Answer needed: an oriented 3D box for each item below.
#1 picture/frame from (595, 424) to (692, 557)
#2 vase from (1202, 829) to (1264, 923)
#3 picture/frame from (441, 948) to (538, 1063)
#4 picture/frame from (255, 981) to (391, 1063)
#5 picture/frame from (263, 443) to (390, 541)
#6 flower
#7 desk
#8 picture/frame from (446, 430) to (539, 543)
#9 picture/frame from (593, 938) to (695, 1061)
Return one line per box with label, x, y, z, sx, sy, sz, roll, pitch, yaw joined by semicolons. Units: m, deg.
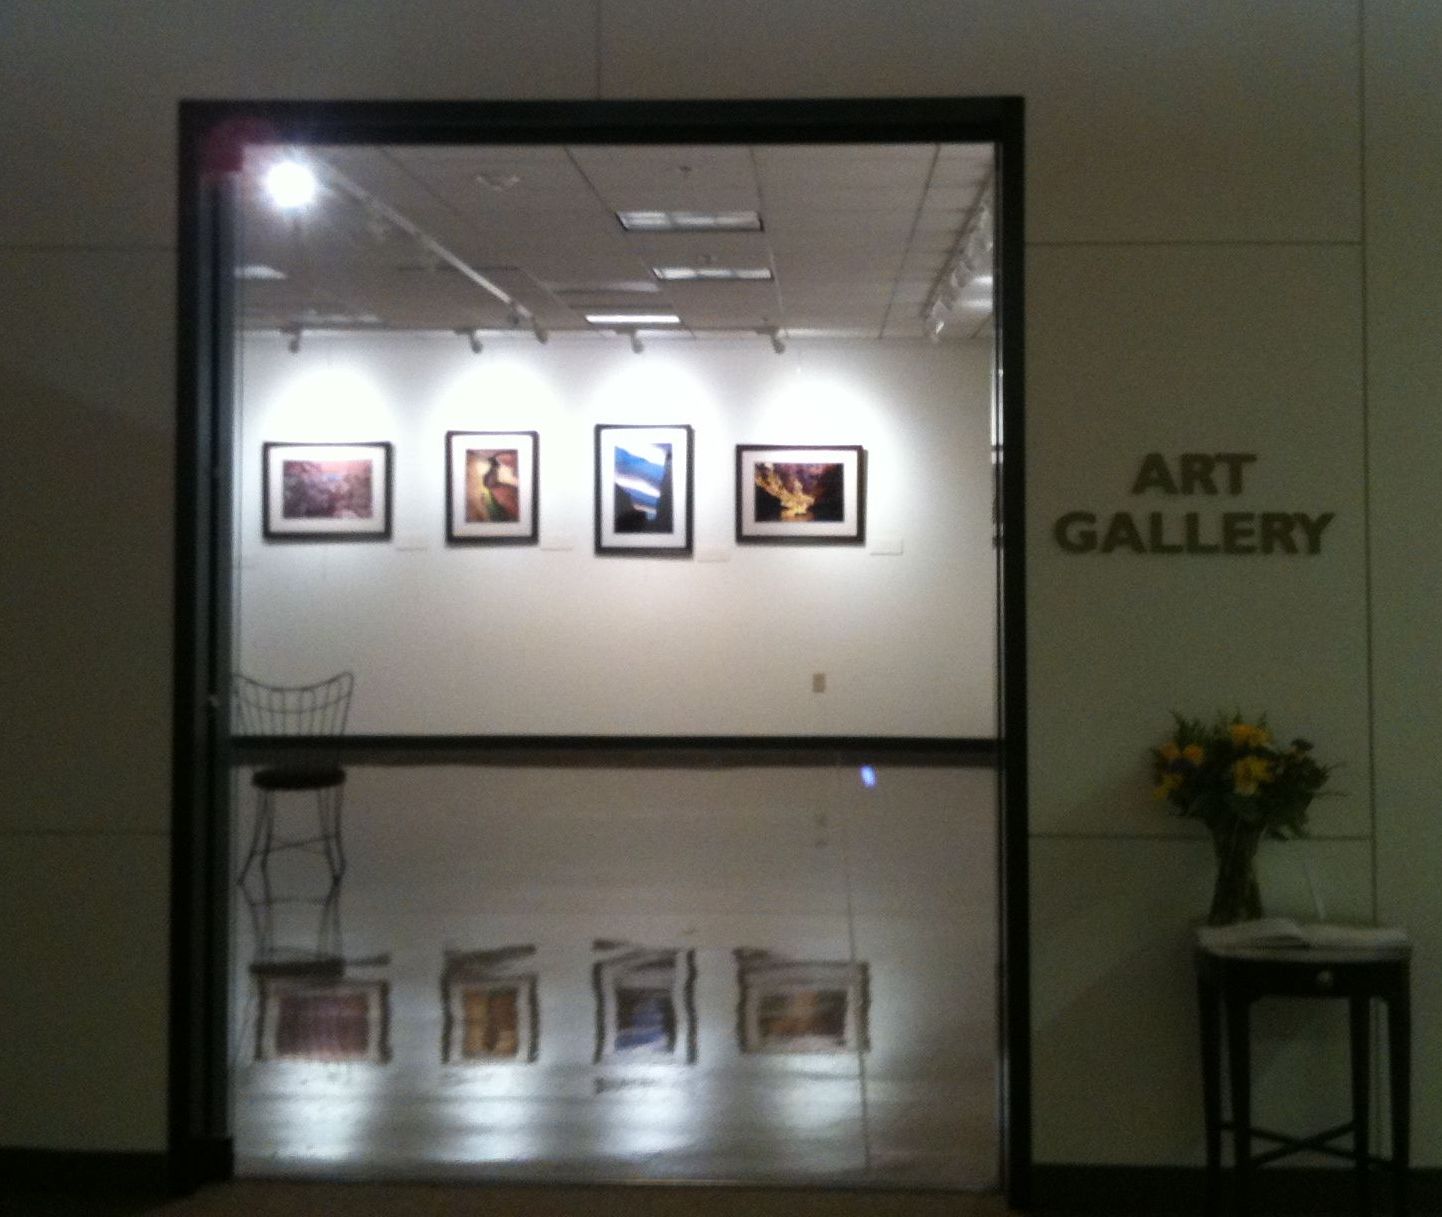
picture/frame;-0.639;-0.919;12.779;0.962;1.285;0.087;0;-4;1
vase;1.358;0.708;4.125;0.127;0.247;0.122;1;5;13
picture/frame;-0.837;1.443;5.587;0.202;0.302;0.240;-1;-47;-4
picture/frame;-1.385;1.449;5.453;0.576;0.070;0.603;-5;6;-6
picture/frame;-3.262;-0.978;12.906;1.010;0.812;0.039;-1;-11;-13
flower;1.367;0.439;4.160;0.365;0.435;0.392;6;12;44
desk;1.540;1.208;4.088;0.574;0.834;0.346;0;5;9
picture/frame;-1.884;-0.965;12.806;0.820;1.096;0.075;0;-6;1
picture/frame;-0.271;1.442;5.625;0.459;0.095;0.829;-4;10;1
